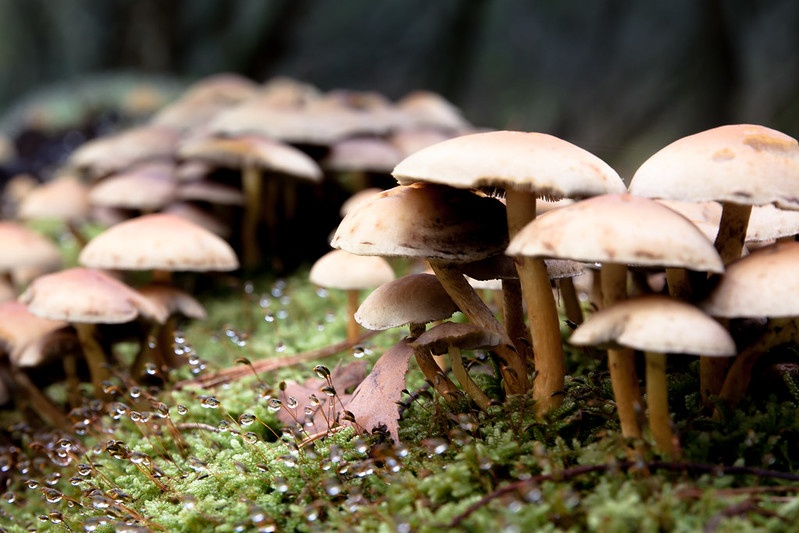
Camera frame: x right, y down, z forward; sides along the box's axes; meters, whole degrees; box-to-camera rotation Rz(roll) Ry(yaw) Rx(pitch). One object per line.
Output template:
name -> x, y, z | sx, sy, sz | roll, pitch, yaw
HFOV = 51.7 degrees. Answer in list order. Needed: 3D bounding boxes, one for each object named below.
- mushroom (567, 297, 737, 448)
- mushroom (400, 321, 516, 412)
mushroom -> 1.228, 0.524, 4.000 | 0.686, 0.755, 0.358 | 7, 33, 28
mushroom -> 0.303, 0.530, 4.374 | 0.543, 0.498, 0.522 | -4, 17, -19
